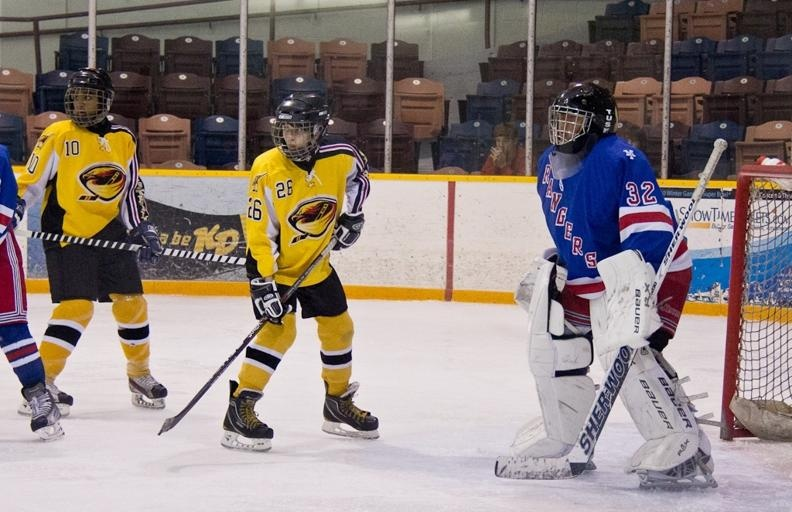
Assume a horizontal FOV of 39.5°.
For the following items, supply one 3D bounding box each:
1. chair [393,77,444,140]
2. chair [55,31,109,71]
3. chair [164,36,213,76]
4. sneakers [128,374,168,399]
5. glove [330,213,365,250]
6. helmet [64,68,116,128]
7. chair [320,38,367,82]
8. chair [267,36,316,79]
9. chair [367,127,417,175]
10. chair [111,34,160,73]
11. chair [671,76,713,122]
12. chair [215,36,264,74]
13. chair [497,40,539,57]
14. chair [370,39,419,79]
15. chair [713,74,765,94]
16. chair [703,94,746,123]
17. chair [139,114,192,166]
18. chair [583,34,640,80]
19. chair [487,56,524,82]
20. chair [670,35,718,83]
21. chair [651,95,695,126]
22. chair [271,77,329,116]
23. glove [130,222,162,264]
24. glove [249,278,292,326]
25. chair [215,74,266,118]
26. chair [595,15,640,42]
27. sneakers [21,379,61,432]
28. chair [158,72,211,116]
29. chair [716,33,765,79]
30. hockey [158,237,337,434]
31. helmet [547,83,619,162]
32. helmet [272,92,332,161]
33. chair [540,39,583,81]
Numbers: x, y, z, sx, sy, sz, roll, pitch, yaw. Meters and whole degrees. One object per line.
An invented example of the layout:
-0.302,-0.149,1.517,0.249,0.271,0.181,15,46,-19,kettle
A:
0.239,-1.439,10.885,0.493,0.567,0.524,1,15,2,chair
-3.430,-2.186,11.881,0.839,0.383,0.461,13,19,42,chair
-2.242,-2.129,11.872,0.525,0.409,0.342,-1,15,-4,chair
-1.633,0.854,7.222,0.330,0.124,0.107,4,13,33,sneakers
-0.307,-0.156,6.941,0.160,0.242,0.102,35,-1,4,glove
-1.975,-1.004,7.070,0.320,0.354,0.401,1,4,5,helmet
-0.509,-2.009,11.583,0.590,0.491,0.359,-1,8,6,chair
-1.107,-2.014,11.701,0.594,0.587,0.451,-1,2,-8,chair
-0.039,-0.966,10.749,0.473,0.454,0.608,3,-28,-2,chair
-2.824,-2.112,11.916,0.464,0.530,0.406,-2,12,-16,chair
2.893,-1.526,10.882,0.510,0.547,0.504,1,4,19,chair
-1.644,-2.053,11.533,0.438,0.421,0.968,-4,14,-16,chair
1.222,-2.023,10.857,0.201,0.157,0.386,-3,5,-39,chair
0.010,-1.964,11.154,0.569,0.366,0.818,-1,14,-4,chair
3.442,-1.683,11.014,0.497,0.158,0.252,4,14,16,chair
3.281,-1.459,10.957,0.343,0.302,0.349,2,21,20,chair
-2.362,-1.128,11.190,0.558,0.621,0.566,1,-2,-20,chair
2.252,-2.067,11.575,0.599,0.701,0.440,2,13,27,chair
1.114,-1.848,11.036,0.331,0.264,0.210,-1,-11,19,chair
3.067,-2.004,11.355,0.429,0.469,0.437,12,16,37,chair
2.731,-1.397,10.684,0.420,0.377,0.425,3,21,17,chair
-0.997,-1.552,11.188,0.555,0.638,0.500,0,1,1,chair
-1.668,-0.073,7.289,0.231,0.239,0.102,15,-41,-36,glove
-0.771,0.260,6.601,0.229,0.265,0.131,6,14,11,glove
-1.591,-1.598,11.295,0.547,0.432,0.300,-1,24,-8,chair
2.311,-2.352,11.508,0.447,0.368,0.314,7,19,21,chair
-2.179,0.896,6.742,0.172,0.196,0.480,-11,19,-8,sneakers
-2.208,-1.669,11.497,0.455,0.482,0.523,1,4,-3,chair
3.526,-2.034,11.333,0.498,0.533,0.478,2,13,19,chair
-1.013,0.574,7.565,1.971,0.101,0.099,-39,-15,7,hockey
1.082,-0.806,6.387,0.366,0.374,0.487,15,17,39,helmet
-0.578,-0.766,6.676,0.349,0.392,0.240,-1,15,-3,helmet
1.739,-1.971,11.272,0.522,0.469,0.399,-1,-1,6,chair
